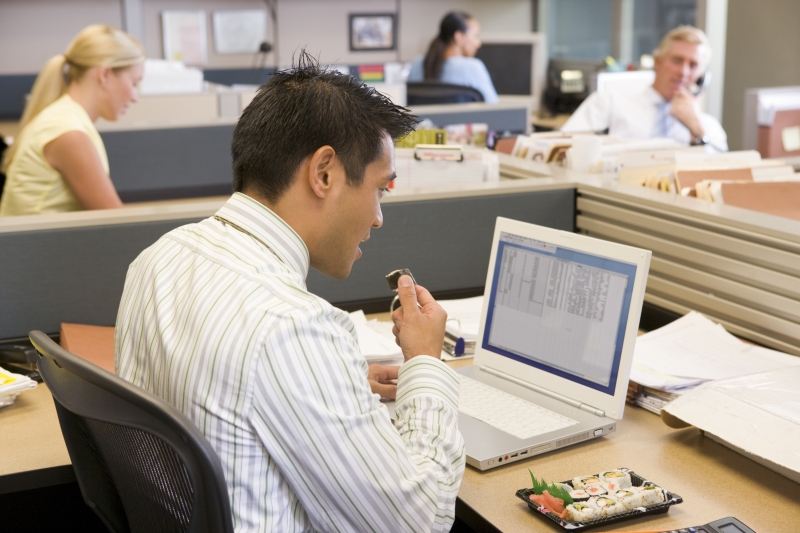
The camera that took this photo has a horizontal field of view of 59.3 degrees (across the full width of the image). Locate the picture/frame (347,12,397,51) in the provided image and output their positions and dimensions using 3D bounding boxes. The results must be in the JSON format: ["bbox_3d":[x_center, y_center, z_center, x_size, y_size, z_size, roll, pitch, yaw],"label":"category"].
[{"bbox_3d":[-0.046,-0.400,1.199,0.080,0.058,0.006,-4,27,-11],"label":"picture/frame"}]

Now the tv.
[{"bbox_3d":[0.196,-0.342,1.232,0.121,0.123,0.202,4,15,10],"label":"tv"}]

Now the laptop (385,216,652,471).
[{"bbox_3d":[0.253,0.136,1.525,0.475,0.464,0.574,-8,20,-31],"label":"laptop"}]

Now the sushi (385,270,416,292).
[{"bbox_3d":[-0.003,0.017,1.336,0.046,0.044,0.034,-31,21,-5],"label":"sushi"}]
